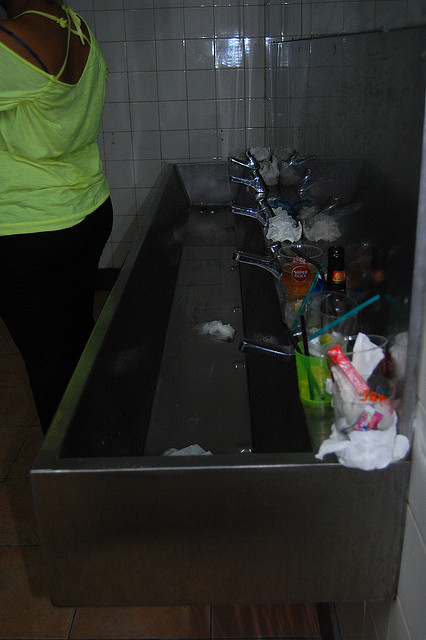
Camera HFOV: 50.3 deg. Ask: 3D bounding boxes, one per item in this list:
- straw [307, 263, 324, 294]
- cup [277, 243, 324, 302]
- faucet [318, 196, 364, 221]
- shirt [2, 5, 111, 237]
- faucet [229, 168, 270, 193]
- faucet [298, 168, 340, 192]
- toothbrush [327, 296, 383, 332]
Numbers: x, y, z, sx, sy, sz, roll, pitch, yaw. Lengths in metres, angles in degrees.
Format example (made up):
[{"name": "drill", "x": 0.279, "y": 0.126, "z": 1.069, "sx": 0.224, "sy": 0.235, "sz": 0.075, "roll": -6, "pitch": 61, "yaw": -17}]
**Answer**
[{"name": "straw", "x": 0.204, "y": -0.085, "z": 0.908, "sx": 0.010, "sy": 0.098, "sz": 0.010, "roll": 31, "pitch": -23, "yaw": -33}, {"name": "cup", "x": 0.223, "y": -0.122, "z": 1.128, "sx": 0.100, "sy": 0.114, "sz": 0.105, "roll": -3, "pitch": 12, "yaw": 1}, {"name": "faucet", "x": 0.308, "y": -0.275, "z": 1.113, "sx": 0.042, "sy": 0.057, "sz": 0.133, "roll": -27, "pitch": 19, "yaw": -19}, {"name": "shirt", "x": -0.405, "y": -0.517, "z": 1.194, "sx": 0.176, "sy": 0.547, "sz": 0.457, "roll": 8, "pitch": 22, "yaw": 18}, {"name": "faucet", "x": 0.164, "y": -0.622, "z": 2.043, "sx": 0.146, "sy": 0.151, "sz": 0.043, "roll": -4, "pitch": -3, "yaw": 20}, {"name": "faucet", "x": 0.360, "y": -0.497, "z": 1.592, "sx": 0.149, "sy": 0.090, "sz": 0.054, "roll": 1, "pitch": -7, "yaw": 33}, {"name": "toothbrush", "x": 0.204, "y": -0.008, "z": 0.654, "sx": 0.007, "sy": 0.070, "sz": 0.007, "roll": 42, "pitch": 44, "yaw": -7}]
